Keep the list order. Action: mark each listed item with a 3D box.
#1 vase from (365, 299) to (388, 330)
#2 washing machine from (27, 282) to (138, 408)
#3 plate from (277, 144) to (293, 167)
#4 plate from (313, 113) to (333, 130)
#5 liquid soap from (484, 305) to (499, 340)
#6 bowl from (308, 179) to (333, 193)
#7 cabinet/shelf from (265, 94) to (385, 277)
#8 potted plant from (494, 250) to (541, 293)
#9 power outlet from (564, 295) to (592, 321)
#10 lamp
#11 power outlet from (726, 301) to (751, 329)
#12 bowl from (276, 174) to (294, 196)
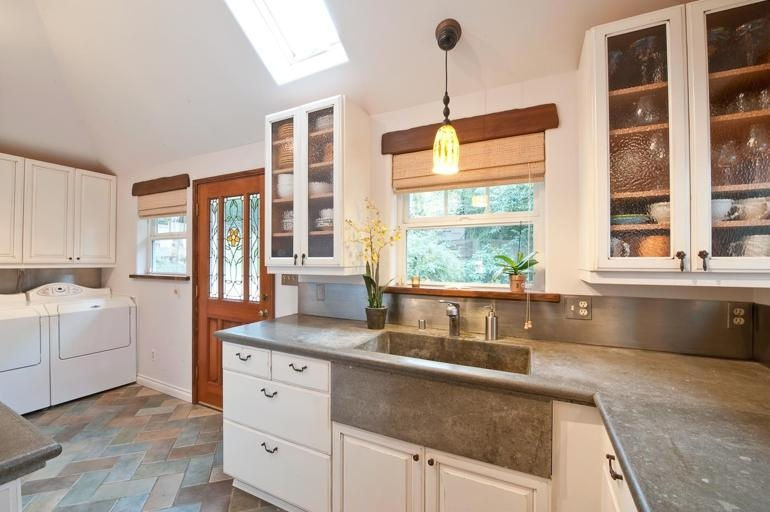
[{"bbox_3d":[-0.062,0.482,3.788,0.176,0.156,0.183,1,-3,-17],"label":"vase"},{"bbox_3d":[-3.171,0.890,5.174,0.620,1.119,0.830,0,3,40],"label":"washing machine"},{"bbox_3d":[-0.794,-0.805,3.932,0.164,0.172,0.162,-2,2,-31],"label":"plate"},{"bbox_3d":[-0.472,-1.045,3.759,0.118,0.112,0.117,-1,1,4],"label":"plate"},{"bbox_3d":[0.790,0.489,3.601,0.099,0.256,0.143,-2,-1,12],"label":"liquid soap"},{"bbox_3d":[-0.500,-0.541,3.833,0.126,0.064,0.124,-2,3,0],"label":"bowl"},{"bbox_3d":[-0.584,-0.537,3.938,0.806,1.192,0.239,-2,-1,15],"label":"cabinet/shelf"},{"bbox_3d":[0.977,0.121,3.633,0.298,0.221,0.303,0,-6,18],"label":"potted plant"},{"bbox_3d":[1.391,0.374,3.485,0.186,0.186,0.019,1,0,25],"label":"power outlet"},{"bbox_3d":[0.463,-1.126,3.461,0.211,1.019,0.625,-2,-1,10],"label":"lamp"},{"bbox_3d":[2.338,0.394,3.227,0.141,0.196,0.023,-2,-1,4],"label":"power outlet"},{"bbox_3d":[-0.794,-0.572,3.940,0.164,0.178,0.165,0,5,0],"label":"bowl"}]
